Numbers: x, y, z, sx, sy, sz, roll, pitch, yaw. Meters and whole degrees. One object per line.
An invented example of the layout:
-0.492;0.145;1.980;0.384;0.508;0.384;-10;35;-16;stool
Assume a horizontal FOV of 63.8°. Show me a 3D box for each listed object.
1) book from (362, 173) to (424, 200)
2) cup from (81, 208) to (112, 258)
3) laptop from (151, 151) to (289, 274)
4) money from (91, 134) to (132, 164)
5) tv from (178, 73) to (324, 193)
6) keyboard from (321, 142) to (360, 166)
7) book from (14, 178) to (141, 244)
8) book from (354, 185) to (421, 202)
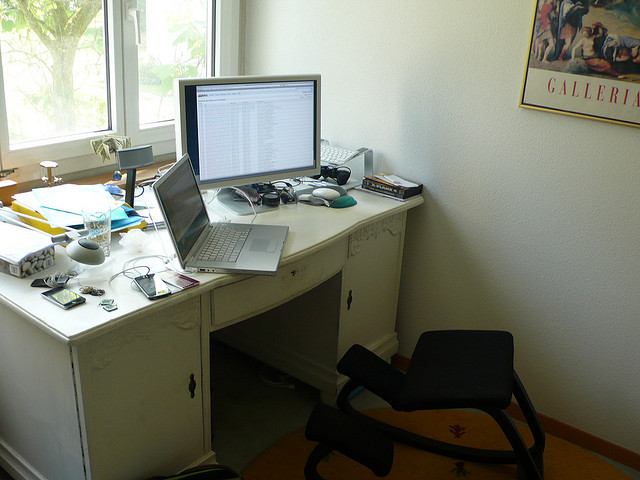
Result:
0.345;-0.260;2.419;0.165;0.052;0.162;22;27;31;book
-0.781;-0.017;1.795;0.101;0.162;0.103;-2;6;0;cup
-0.312;-0.103;1.790;0.519;0.294;0.532;-18;29;-37;laptop
-0.924;-0.394;2.286;0.145;0.166;0.288;-7;26;-21;money
-0.304;-0.455;2.177;0.541;0.376;0.072;-14;27;-30;tv
0.074;-0.416;2.527;0.229;0.062;0.102;24;32;39;keyboard
-0.897;-0.129;1.934;0.365;0.084;0.362;-15;44;-39;book
0.311;-0.213;2.423;0.140;0.030;0.153;22;29;31;book
